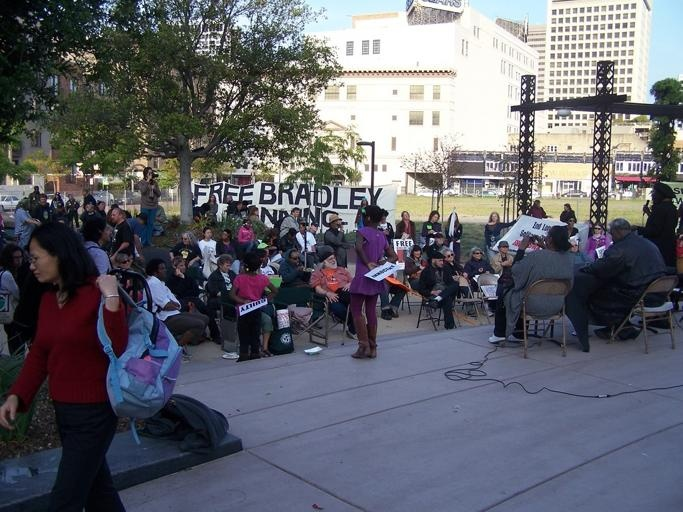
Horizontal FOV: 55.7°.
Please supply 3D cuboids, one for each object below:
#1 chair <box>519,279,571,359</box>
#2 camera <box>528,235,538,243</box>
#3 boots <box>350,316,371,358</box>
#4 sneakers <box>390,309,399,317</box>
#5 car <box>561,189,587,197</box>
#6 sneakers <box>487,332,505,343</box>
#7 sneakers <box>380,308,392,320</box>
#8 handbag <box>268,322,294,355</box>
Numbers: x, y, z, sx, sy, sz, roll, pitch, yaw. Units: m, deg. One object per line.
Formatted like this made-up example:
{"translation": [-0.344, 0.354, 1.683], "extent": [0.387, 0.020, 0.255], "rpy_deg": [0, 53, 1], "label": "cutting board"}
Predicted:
{"translation": [2.831, 0.808, 9.576], "extent": [0.905, 1.261, 0.999], "rpy_deg": [3, 10, 26], "label": "chair"}
{"translation": [4.231, -0.387, 14.598], "extent": [0.266, 0.147, 0.393], "rpy_deg": [0, 3, 13], "label": "camera"}
{"translation": [0.253, 1.150, 9.346], "extent": [0.263, 0.586, 0.322], "rpy_deg": [-1, 10, -9], "label": "boots"}
{"translation": [1.136, 1.250, 14.119], "extent": [0.203, 0.213, 0.097], "rpy_deg": [-3, 7, -13], "label": "sneakers"}
{"translation": [32.430, -8.774, 91.654], "extent": [2.580, 0.807, 1.635], "rpy_deg": [0, 5, 22], "label": "car"}
{"translation": [2.344, 1.272, 10.006], "extent": [0.247, 0.120, 0.103], "rpy_deg": [3, 8, 45], "label": "sneakers"}
{"translation": [0.922, 1.246, 13.912], "extent": [0.265, 0.282, 0.133], "rpy_deg": [-1, 2, 13], "label": "sneakers"}
{"translation": [-1.002, 1.353, 10.564], "extent": [0.397, 0.434, 0.292], "rpy_deg": [-1, 10, -12], "label": "handbag"}
